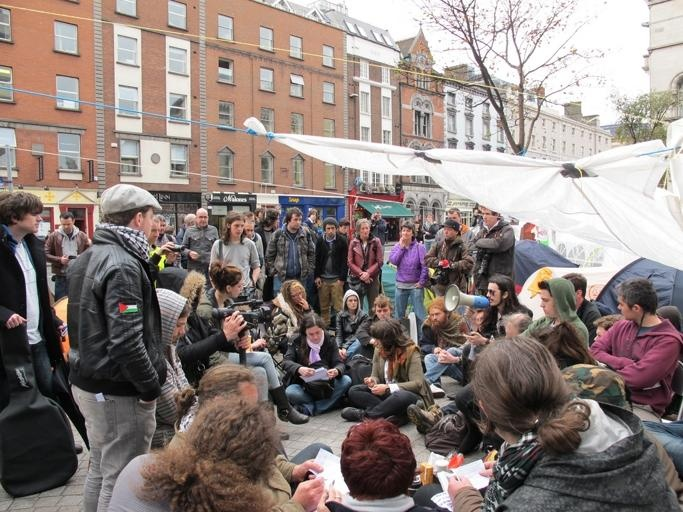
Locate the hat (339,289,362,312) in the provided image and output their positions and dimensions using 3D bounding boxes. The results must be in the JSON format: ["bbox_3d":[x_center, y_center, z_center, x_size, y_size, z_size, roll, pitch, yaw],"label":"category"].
[{"bbox_3d":[0.128,0.615,9.142,0.244,0.307,0.290,1,-13,-5],"label":"hat"}]

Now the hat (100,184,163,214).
[{"bbox_3d":[-1.674,-0.438,5.155,0.374,0.180,0.270,-11,14,-31],"label":"hat"}]

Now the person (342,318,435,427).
[{"bbox_3d":[0.508,1.380,7.828,1.149,1.351,0.992,5,-9,-31],"label":"person"}]

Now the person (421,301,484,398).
[{"bbox_3d":[1.305,1.093,7.702,0.568,1.083,0.826,-19,-43,30],"label":"person"}]

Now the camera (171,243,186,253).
[{"bbox_3d":[-2.021,-0.103,8.130,0.127,0.134,0.389,-45,11,-14],"label":"camera"}]

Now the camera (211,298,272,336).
[{"bbox_3d":[-0.914,0.573,6.354,0.415,0.373,0.876,4,7,14],"label":"camera"}]

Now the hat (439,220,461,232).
[{"bbox_3d":[1.687,-0.488,10.085,0.242,0.128,0.174,19,-5,-31],"label":"hat"}]

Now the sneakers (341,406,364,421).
[{"bbox_3d":[0.130,1.793,7.378,0.121,0.111,0.317,3,3,39],"label":"sneakers"}]

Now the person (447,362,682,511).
[{"bbox_3d":[1.499,1.151,4.181,0.875,1.053,0.411,-12,-33,12],"label":"person"}]

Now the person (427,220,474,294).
[{"bbox_3d":[1.651,0.260,10.244,0.670,1.609,0.556,0,21,4],"label":"person"}]

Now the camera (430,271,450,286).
[{"bbox_3d":[1.510,0.320,10.005,0.266,0.245,0.216,3,7,9],"label":"camera"}]

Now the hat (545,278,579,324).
[{"bbox_3d":[2.096,0.407,6.183,0.327,0.434,0.367,-3,-2,12],"label":"hat"}]

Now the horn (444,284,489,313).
[{"bbox_3d":[1.462,0.506,7.614,0.419,0.311,0.294,8,1,-26],"label":"horn"}]
